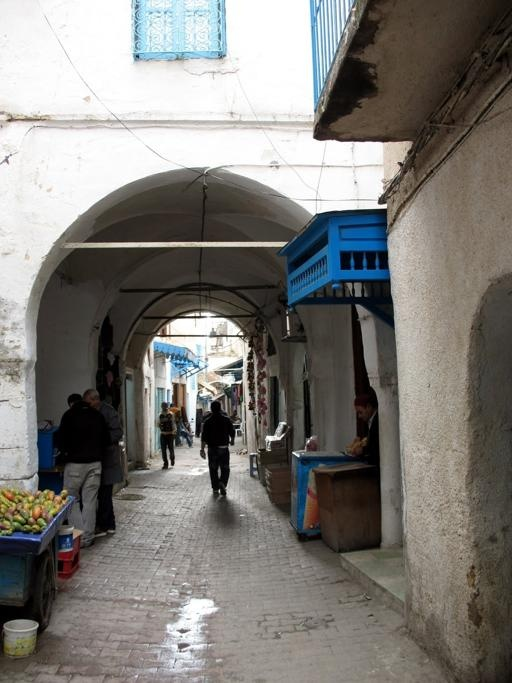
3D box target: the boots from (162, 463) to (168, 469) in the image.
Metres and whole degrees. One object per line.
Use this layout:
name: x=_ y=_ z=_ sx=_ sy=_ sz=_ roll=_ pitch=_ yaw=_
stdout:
boots: x=-2.394 y=3.198 z=15.778 sx=0.159 sy=0.179 sz=0.088 roll=3 pitch=0 yaw=8

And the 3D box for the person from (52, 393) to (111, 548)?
person: x=-1.947 y=1.443 z=6.797 sx=0.542 sy=1.554 sz=0.347 roll=0 pitch=-5 yaw=-5

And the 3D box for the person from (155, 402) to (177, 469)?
person: x=-2.356 y=2.386 z=15.923 sx=0.414 sy=1.671 sz=0.463 roll=-3 pitch=1 yaw=-21

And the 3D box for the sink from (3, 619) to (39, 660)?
sink: x=-1.409 y=1.753 z=3.624 sx=0.184 sy=0.187 sz=0.209 roll=2 pitch=-6 yaw=-24

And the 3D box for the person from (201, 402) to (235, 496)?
person: x=-0.668 y=1.831 z=10.688 sx=0.565 sy=1.669 sz=0.530 roll=-8 pitch=16 yaw=-28

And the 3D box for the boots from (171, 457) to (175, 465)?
boots: x=-2.218 y=3.147 z=16.064 sx=0.083 sy=0.204 sz=0.182 roll=0 pitch=2 yaw=0

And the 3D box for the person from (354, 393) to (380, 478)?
person: x=1.139 y=0.968 z=6.277 sx=0.269 sy=1.014 sz=0.354 roll=-1 pitch=-28 yaw=7

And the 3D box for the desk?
desk: x=0.916 y=1.626 z=6.250 sx=0.586 sy=0.810 sz=0.758 roll=-3 pitch=-3 yaw=-3

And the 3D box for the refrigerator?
refrigerator: x=0.875 y=1.581 z=6.663 sx=0.955 sy=1.120 sz=0.795 roll=1 pitch=1 yaw=-3
